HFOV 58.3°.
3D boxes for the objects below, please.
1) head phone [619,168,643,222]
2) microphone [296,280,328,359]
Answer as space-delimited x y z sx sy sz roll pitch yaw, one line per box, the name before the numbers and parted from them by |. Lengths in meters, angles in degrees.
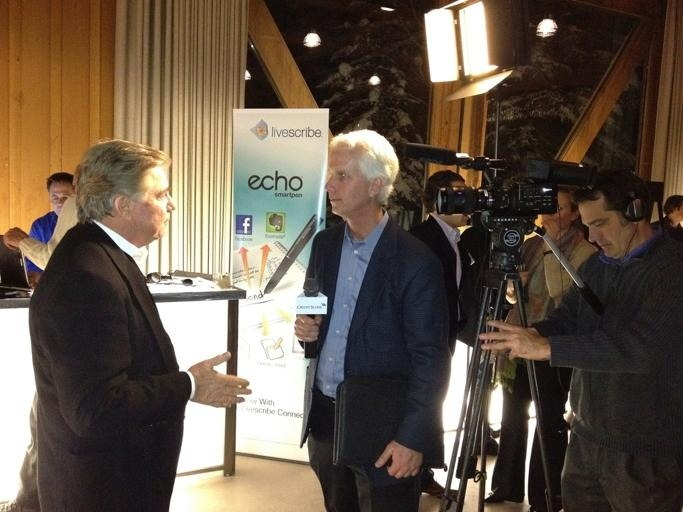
head phone | 1.224 -0.255 2.599 0.080 0.207 0.218 -3 0 8
microphone | -0.126 0.278 2.685 0.130 0.385 0.294 1 3 -2
